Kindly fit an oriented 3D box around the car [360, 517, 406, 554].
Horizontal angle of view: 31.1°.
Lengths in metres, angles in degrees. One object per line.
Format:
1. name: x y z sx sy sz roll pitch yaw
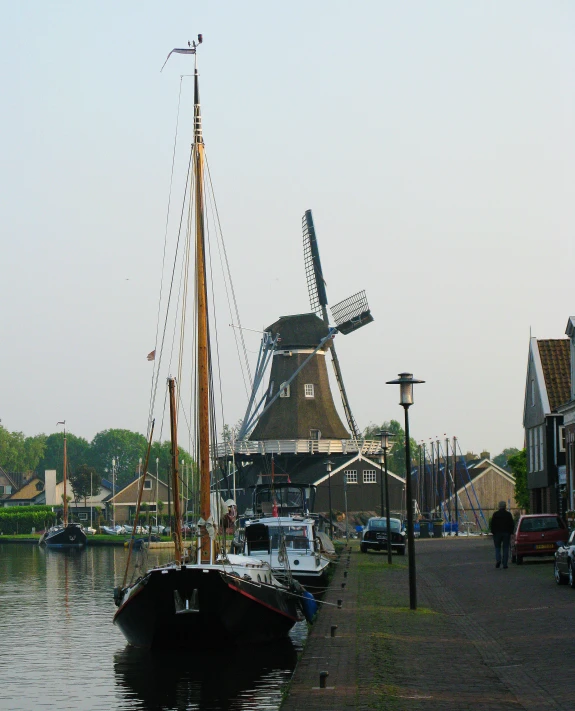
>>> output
1. car: 4.006 7.536 43.908 1.283 1.136 3.291 0 -18 3
